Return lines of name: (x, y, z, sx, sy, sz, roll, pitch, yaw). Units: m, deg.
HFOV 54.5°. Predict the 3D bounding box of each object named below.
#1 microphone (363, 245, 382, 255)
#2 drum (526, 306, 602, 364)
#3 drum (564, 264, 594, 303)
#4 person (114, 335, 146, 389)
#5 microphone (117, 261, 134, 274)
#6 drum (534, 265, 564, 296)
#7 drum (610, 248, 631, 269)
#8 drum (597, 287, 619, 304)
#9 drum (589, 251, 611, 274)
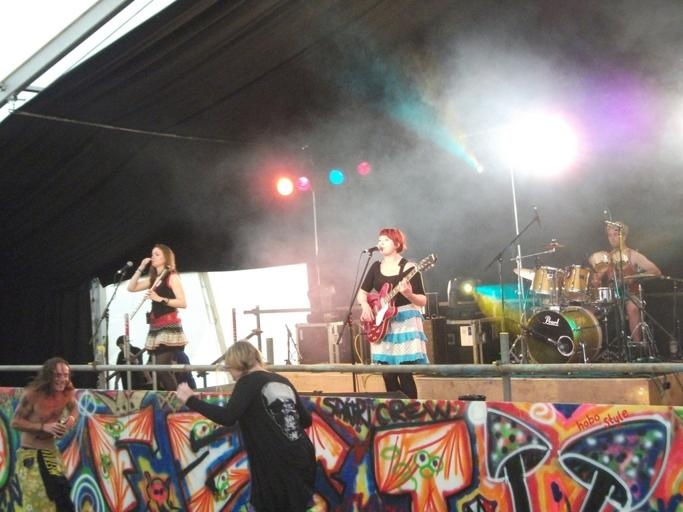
microphone: (0.297, -0.045, 6.653, 0.091, 0.128, 0.398, -8, -3, 13)
drum: (2.578, 0.903, 7.664, 0.751, 0.810, 0.654, 1, 2, 42)
drum: (2.848, 0.341, 8.034, 0.366, 0.393, 0.387, 0, -12, 27)
person: (-2.722, 1.380, 8.457, 0.269, 0.320, 0.867, -6, 22, -22)
microphone: (-2.696, 0.137, 8.191, 0.093, 0.101, 0.285, 33, 22, 13)
drum: (2.522, 0.331, 8.239, 0.323, 0.354, 0.341, 7, -12, -3)
drum: (3.534, 0.030, 8.481, 0.306, 0.248, 0.289, 3, 2, -20)
drum: (3.199, 0.485, 8.005, 0.181, 0.148, 0.194, -1, -2, 0)
drum: (3.304, 0.101, 8.531, 0.253, 0.188, 0.251, 11, -39, 9)
